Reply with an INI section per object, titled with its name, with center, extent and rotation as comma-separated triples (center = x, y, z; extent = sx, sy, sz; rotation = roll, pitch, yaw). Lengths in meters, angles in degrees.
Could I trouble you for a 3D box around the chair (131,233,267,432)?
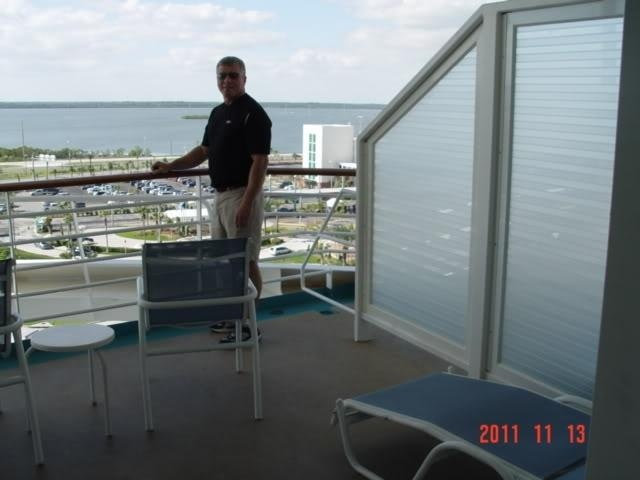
[chair]
center = -0.586, 0.398, 2.514
extent = 0.664, 0.919, 0.692
rotation = -6, 15, -24
